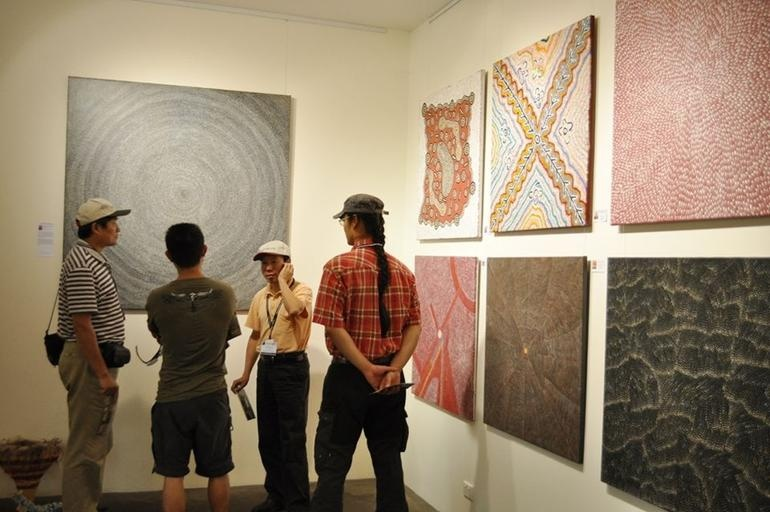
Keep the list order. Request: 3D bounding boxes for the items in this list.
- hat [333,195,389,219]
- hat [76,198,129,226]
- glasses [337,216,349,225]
[{"bbox_3d":[-0.172,-0.311,3.669,0.270,0.133,0.205,0,-1,0],"label":"hat"},{"bbox_3d":[-2.123,-0.334,4.049,0.329,0.182,0.220,-6,10,-27],"label":"hat"},{"bbox_3d":[-0.310,-0.268,3.962,0.075,0.023,0.075,-41,7,-14],"label":"glasses"}]
